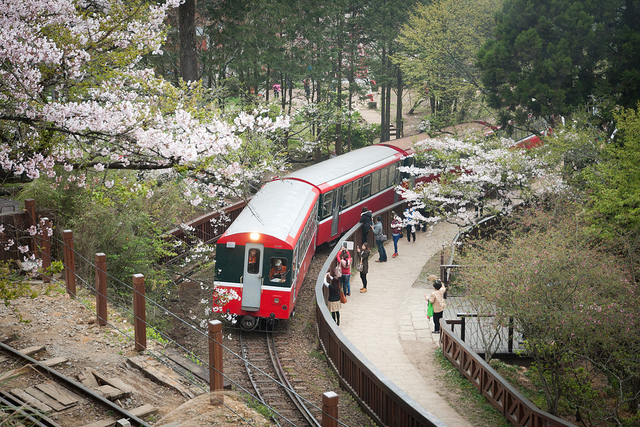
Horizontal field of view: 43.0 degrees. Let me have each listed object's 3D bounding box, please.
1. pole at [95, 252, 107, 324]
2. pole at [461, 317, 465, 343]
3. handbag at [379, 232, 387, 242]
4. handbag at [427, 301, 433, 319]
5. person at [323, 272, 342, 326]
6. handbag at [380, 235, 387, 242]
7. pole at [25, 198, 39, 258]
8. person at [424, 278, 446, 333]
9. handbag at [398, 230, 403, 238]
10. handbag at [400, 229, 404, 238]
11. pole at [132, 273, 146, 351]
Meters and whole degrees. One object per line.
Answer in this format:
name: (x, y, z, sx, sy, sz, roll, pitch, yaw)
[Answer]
pole: (-6.447, 2.242, 23.870, 0.348, 2.278, 0.678, -3, 13, -15)
pole: (4.822, 3.900, 27.503, 0.134, 0.804, 0.325, 2, 12, 9)
handbag: (2.601, 1.022, 33.803, 0.221, 0.303, 0.317, -3, 4, 1)
handbag: (3.853, 3.362, 28.524, 0.179, 0.714, 0.431, 2, 12, 8)
person: (0.417, 3.077, 28.994, 0.650, 1.937, 1.323, 1, 12, 0)
handbag: (2.649, 1.054, 33.836, 0.278, 0.228, 0.402, 2, 1, -3)
pole: (-9.279, 0.498, 26.503, 0.327, 1.825, 0.309, -4, 1, -17)
person: (4.051, 3.275, 28.329, 0.541, 2.152, 0.825, 5, 13, 20)
handbag: (3.675, 0.979, 37.084, 0.175, 0.596, 0.140, 0, 7, 34)
handbag: (3.808, 0.961, 37.931, 0.112, 0.271, 0.403, 3, 12, 12)
pole: (-5.169, 2.837, 23.227, 0.319, 2.328, 0.554, -2, 13, -13)
